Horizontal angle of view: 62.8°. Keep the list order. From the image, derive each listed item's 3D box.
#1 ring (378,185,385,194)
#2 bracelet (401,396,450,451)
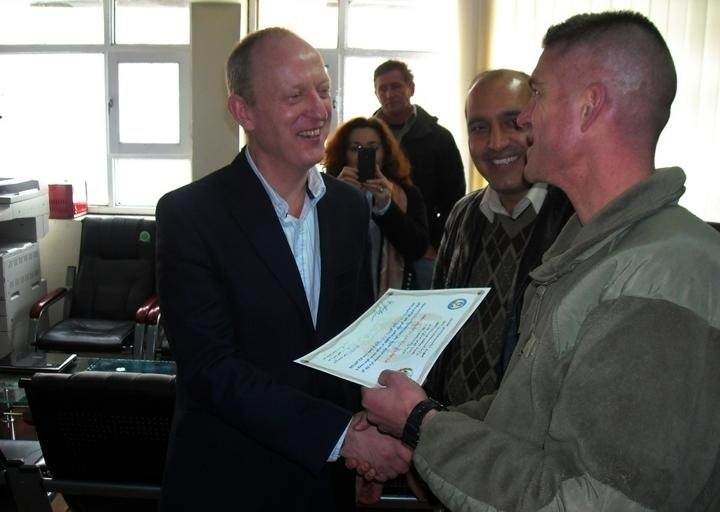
[{"bbox_3d":[0.109,-0.347,3.050,0.021,0.031,0.009,-8,-4,24],"label":"ring"},{"bbox_3d":[0.141,0.385,1.412,0.095,0.118,0.110,33,59,29],"label":"bracelet"}]
